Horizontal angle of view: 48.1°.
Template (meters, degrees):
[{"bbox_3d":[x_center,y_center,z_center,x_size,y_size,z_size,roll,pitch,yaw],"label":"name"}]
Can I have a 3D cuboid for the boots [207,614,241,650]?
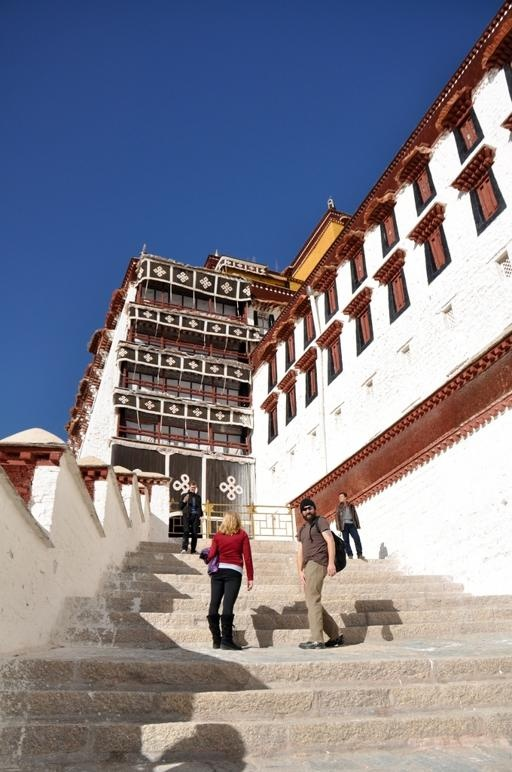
[{"bbox_3d":[-0.328,2.251,5.298,0.386,0.396,0.228,4,-21,-10],"label":"boots"}]

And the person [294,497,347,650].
[{"bbox_3d":[0.630,1.816,5.699,0.452,1.411,0.511,-3,-23,7],"label":"person"}]

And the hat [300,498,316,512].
[{"bbox_3d":[0.529,1.225,5.955,0.137,0.164,0.183,-3,-26,0],"label":"hat"}]
